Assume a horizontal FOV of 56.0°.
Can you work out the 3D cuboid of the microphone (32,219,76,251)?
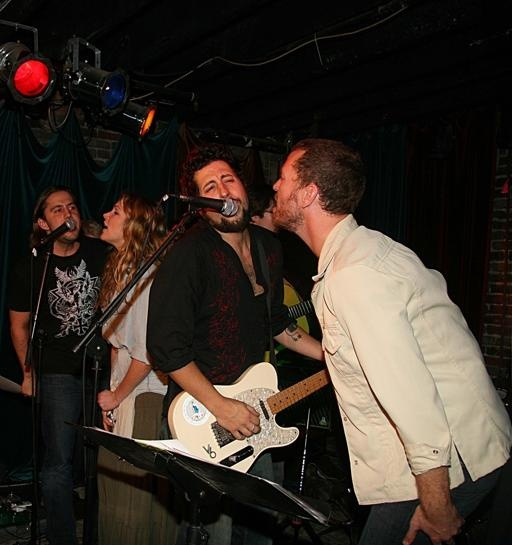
[{"bbox_3d":[-1.393,-0.263,3.310,0.333,0.088,0.098,-45,-19,-15],"label":"microphone"}]

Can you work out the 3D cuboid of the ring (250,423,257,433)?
[{"bbox_3d":[-0.013,0.693,2.136,0.016,0.020,0.054,-5,-46,-5],"label":"ring"}]

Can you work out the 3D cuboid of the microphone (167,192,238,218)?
[{"bbox_3d":[-0.237,-0.308,2.166,0.296,0.108,0.172,5,-8,-17],"label":"microphone"}]
